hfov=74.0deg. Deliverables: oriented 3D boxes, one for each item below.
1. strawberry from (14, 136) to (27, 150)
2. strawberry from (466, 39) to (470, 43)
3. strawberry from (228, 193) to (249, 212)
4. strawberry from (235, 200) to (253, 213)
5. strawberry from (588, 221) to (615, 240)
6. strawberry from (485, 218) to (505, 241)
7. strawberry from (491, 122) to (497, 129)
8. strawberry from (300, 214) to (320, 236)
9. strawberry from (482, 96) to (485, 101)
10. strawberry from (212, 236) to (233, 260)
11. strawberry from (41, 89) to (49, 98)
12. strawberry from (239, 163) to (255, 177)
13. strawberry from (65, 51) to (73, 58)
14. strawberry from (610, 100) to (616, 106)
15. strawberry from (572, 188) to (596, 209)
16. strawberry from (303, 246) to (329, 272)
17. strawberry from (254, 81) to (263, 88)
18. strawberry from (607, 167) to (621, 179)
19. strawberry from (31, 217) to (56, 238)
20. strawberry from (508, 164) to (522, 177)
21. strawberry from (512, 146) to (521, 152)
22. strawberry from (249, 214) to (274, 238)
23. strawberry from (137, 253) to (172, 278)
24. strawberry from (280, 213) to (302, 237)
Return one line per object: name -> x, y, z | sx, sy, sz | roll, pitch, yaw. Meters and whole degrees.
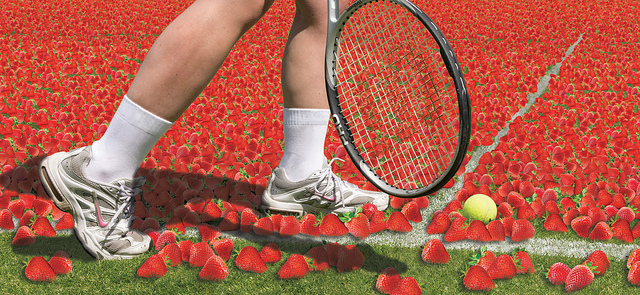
strawberry -> -3.091, -0.040, 4.422 | 0.095, 0.066, 0.125 | 17, 70, -8
strawberry -> 2.456, -1.764, 7.059 | 0.019, 0.083, 0.060 | 5, 7, 2
strawberry -> -0.803, 0.534, 4.075 | 0.128, 0.042, 0.155 | -14, 71, -17
strawberry -> -0.722, 0.555, 4.056 | 0.164, 0.068, 0.115 | -5, 43, -16
strawberry -> 2.558, 0.772, 3.886 | 0.209, 0.118, 0.126 | 0, 43, -11
strawberry -> 1.590, 0.748, 3.856 | 0.149, 0.114, 0.177 | -1, 84, 5
strawberry -> 2.037, -0.254, 4.964 | 0.045, 0.030, 0.078 | 4, 71, -6
strawberry -> -0.086, 0.713, 3.914 | 0.185, 0.109, 0.163 | 7, 41, -3
strawberry -> 2.080, -0.620, 5.405 | 0.016, 0.062, 0.047 | 7, 4, 1
strawberry -> -0.840, 0.874, 3.709 | 0.188, 0.143, 0.181 | 4, 45, -29
strawberry -> -3.282, -0.643, 5.095 | 0.072, 0.084, 0.036 | 2, 12, 37
strawberry -> -0.740, 0.234, 4.314 | 0.153, 0.096, 0.114 | 1, 42, -10
strawberry -> -3.535, -1.300, 5.984 | 0.066, 0.025, 0.081 | -7, 60, 14
strawberry -> 3.650, -0.549, 5.303 | 0.067, 0.081, 0.021 | -5, 4, 18
strawberry -> 2.570, 0.493, 4.090 | 0.196, 0.104, 0.180 | -21, 50, -31
strawberry -> -0.005, 0.960, 3.665 | 0.225, 0.165, 0.125 | -8, 17, 8
strawberry -> -0.808, -0.814, 5.588 | 0.087, 0.053, 0.199 | 7, 41, -3
strawberry -> 3.006, 0.261, 4.327 | 0.157, 0.064, 0.101 | 3, 42, -8
strawberry -> -2.451, 0.719, 3.849 | 0.190, 0.081, 0.161 | 39, 84, 0
strawberry -> 1.972, 0.233, 4.307 | 0.114, 0.104, 0.088 | 12, 42, 3
strawberry -> 2.125, 0.015, 4.598 | 0.082, 0.020, 0.074 | 10, 40, 0
strawberry -> -0.511, 0.735, 3.881 | 0.172, 0.126, 0.135 | -9, 45, -20
strawberry -> -1.419, 1.008, 3.602 | 0.229, 0.149, 0.139 | 5, 42, -6
strawberry -> -0.271, 0.692, 3.913 | 0.201, 0.145, 0.225 | -1, 42, -12
